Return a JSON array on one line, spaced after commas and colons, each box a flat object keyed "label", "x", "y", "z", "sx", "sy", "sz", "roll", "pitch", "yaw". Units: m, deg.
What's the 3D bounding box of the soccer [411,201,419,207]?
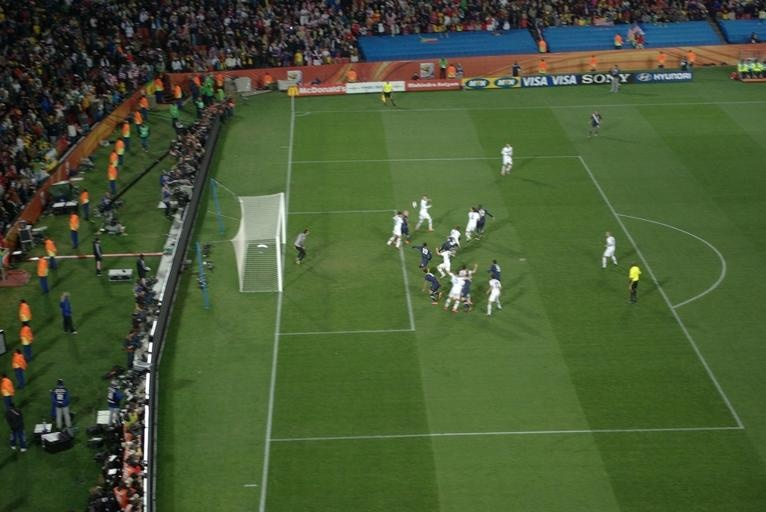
[{"label": "soccer", "x": 1.944, "y": -3.124, "z": 64.605, "sx": 0.410, "sy": 0.148, "sz": 0.459, "roll": 2, "pitch": 18, "yaw": 2}]

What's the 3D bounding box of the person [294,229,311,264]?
[{"label": "person", "x": -4.629, "y": -0.471, "z": 61.951, "sx": 1.207, "sy": 2.116, "sz": 1.017, "roll": -18, "pitch": 52, "yaw": -21}]
